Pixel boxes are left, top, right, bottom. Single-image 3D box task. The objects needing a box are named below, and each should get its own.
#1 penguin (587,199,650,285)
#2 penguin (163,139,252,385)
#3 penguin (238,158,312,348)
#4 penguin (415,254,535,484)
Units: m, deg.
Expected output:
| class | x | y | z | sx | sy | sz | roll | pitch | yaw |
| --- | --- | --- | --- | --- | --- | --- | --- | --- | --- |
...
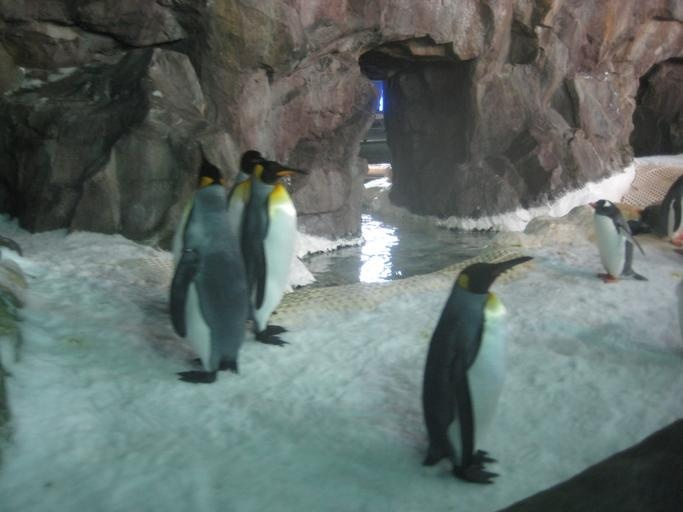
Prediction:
| class | x | y | z | sx | sy | sz | roll | pitch | yaw |
| --- | --- | --- | --- | --- | --- | --- | --- | --- | --- |
| penguin | 2.698 | -0.159 | 6.013 | 0.503 | 0.778 | 0.380 | 7 | 10 | 29 |
| penguin | -0.896 | 0.121 | 4.178 | 0.523 | 1.511 | 0.228 | 1 | 9 | -4 |
| penguin | -0.579 | -0.072 | 4.788 | 0.487 | 1.449 | 0.563 | 5 | 22 | 7 |
| penguin | 0.770 | 0.648 | 3.666 | 0.600 | 1.287 | 0.485 | 0 | 16 | 17 |
